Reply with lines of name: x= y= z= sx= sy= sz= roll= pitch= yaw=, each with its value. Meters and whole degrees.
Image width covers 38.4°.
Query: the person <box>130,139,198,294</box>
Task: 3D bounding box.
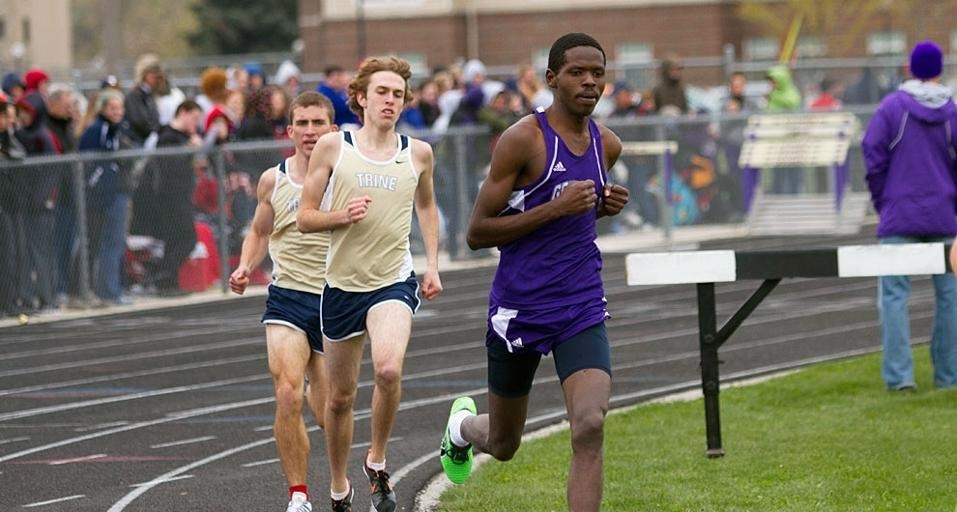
person: x=-4.412 y=-0.455 z=19.359 sx=0.311 sy=1.907 sz=1.112 roll=2 pitch=9 yaw=38

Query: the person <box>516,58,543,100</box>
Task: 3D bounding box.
person: x=0.834 y=-3.261 z=25.438 sx=0.604 sy=0.724 sz=0.261 roll=-12 pitch=-2 yaw=-32

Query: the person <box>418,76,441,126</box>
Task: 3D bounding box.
person: x=-0.870 y=-2.630 z=23.486 sx=0.256 sy=0.689 sz=0.540 roll=0 pitch=0 yaw=37

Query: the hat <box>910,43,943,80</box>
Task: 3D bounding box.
hat: x=4.646 y=-2.041 z=14.276 sx=0.347 sy=0.395 sz=0.541 roll=-1 pitch=8 yaw=17

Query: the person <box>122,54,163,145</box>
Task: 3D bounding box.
person: x=-4.686 y=-2.209 z=19.219 sx=0.564 sy=1.214 sz=0.415 roll=-6 pitch=7 yaw=-14

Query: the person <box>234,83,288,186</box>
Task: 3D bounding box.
person: x=-3.258 y=-1.971 z=20.671 sx=0.595 sy=1.573 sz=1.241 roll=11 pitch=22 yaw=4
